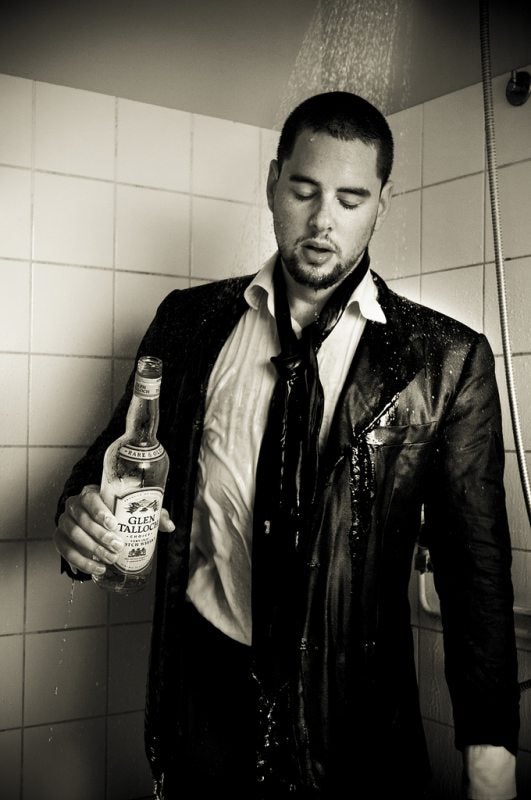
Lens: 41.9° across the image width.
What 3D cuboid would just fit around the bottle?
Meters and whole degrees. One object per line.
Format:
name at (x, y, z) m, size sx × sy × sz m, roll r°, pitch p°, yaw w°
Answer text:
bottle at (-0.138, 0.098, 0.703) m, size 0.070 × 0.229 × 0.070 m, roll 6°, pitch 11°, yaw -1°
